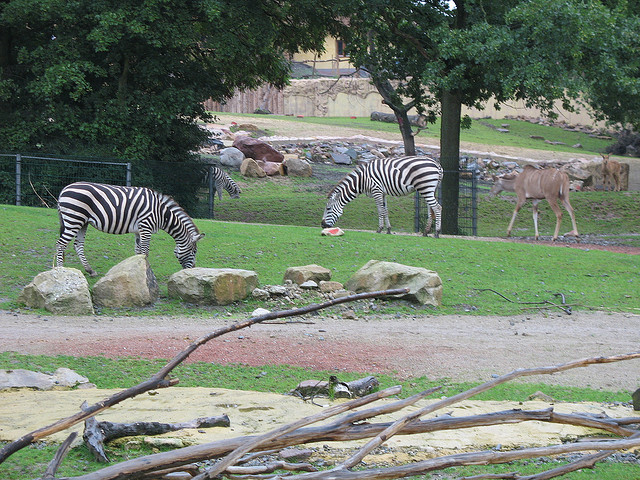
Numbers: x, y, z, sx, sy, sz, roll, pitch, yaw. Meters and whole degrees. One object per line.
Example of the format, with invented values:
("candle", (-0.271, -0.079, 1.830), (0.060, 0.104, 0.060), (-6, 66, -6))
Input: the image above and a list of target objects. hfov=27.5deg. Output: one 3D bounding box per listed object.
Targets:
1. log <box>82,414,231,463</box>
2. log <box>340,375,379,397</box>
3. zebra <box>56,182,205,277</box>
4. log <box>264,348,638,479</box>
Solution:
("log", (-3.576, 4.179, 28.824), (3.358, 0.431, 2.951), (-5, 13, 3))
("log", (0.980, 3.423, 30.753), (0.665, 0.253, 0.424), (-23, 24, -37))
("zebra", (-5.502, -0.634, 38.667), (6.859, 3.335, 1.724), (2, 1, -19))
("log", (2.847, 3.534, 25.859), (6.645, 2.449, 0.519), (0, 2, -3))
